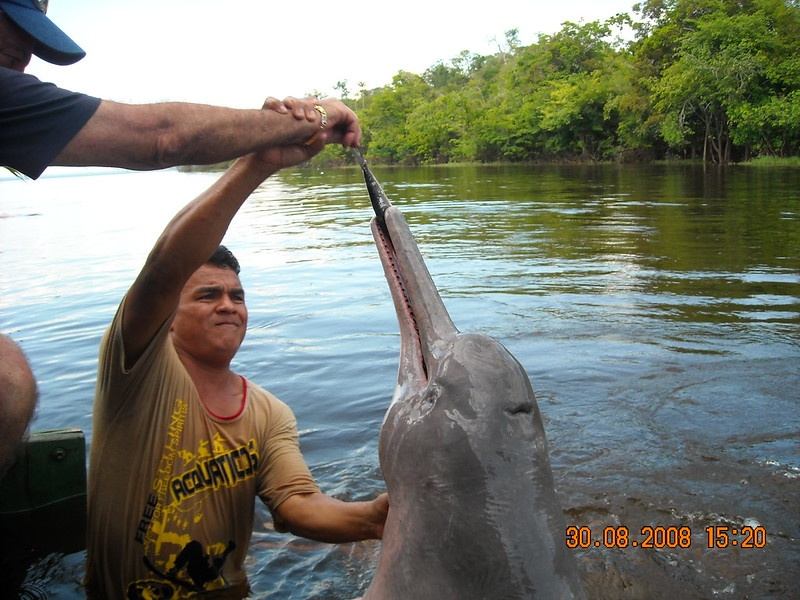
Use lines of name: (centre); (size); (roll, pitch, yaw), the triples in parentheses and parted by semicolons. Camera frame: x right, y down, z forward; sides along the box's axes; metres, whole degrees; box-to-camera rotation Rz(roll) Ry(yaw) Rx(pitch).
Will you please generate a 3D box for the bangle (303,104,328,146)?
bangle: (-0.316, -0.672, 2.364); (0.037, 0.135, 0.136); (6, -42, -39)
